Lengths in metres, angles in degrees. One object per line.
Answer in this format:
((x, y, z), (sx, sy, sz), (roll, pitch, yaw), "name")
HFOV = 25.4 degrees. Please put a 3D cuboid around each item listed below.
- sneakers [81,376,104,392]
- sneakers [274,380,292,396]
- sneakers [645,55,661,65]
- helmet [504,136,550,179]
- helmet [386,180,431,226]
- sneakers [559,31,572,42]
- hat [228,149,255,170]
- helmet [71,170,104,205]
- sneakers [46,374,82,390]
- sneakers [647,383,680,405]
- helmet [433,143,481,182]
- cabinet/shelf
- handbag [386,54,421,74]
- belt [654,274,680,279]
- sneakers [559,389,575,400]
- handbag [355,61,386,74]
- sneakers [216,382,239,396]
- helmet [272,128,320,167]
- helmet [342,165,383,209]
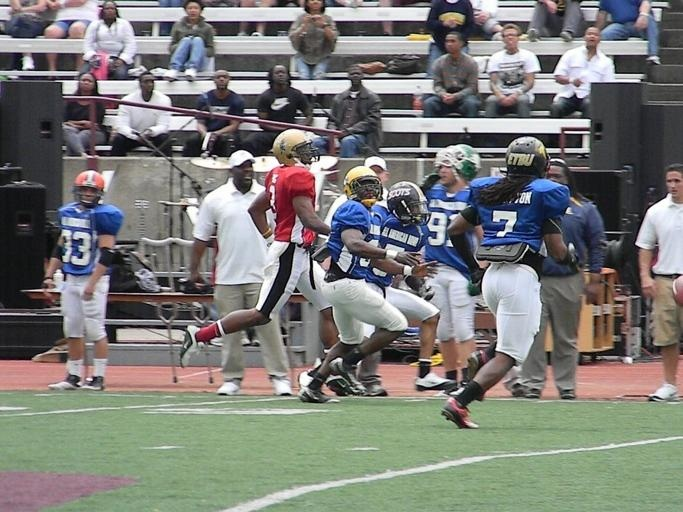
((-2.614, 1.320, 15.837), (0.253, 0.143, 0.297), (0, 0, -7), "sneakers")
((-0.616, 1.332, 15.350), (0.182, 0.150, 0.143), (0, 0, -2), "sneakers")
((4.470, -2.821, 22.077), (0.145, 0.117, 0.360), (6, 11, 21), "sneakers")
((1.705, -0.897, 13.657), (0.417, 0.275, 0.436), (5, 13, 20), "helmet")
((0.629, -0.501, 14.947), (0.395, 0.406, 0.250), (0, 0, 1), "helmet")
((3.241, -3.169, 22.148), (0.199, 0.087, 0.122), (30, 30, 8), "sneakers")
((-1.051, -0.970, 15.518), (0.279, 0.117, 0.307), (-2, -4, -19), "hat")
((-2.612, -0.678, 15.632), (0.293, 0.369, 0.258), (0, 0, -8), "helmet")
((-2.900, 1.309, 15.833), (0.328, 0.153, 0.334), (0, 0, -8), "sneakers")
((3.154, 1.360, 14.957), (0.361, 0.105, 0.151), (9, -3, -40), "sneakers")
((1.203, -0.938, 15.370), (0.504, 0.327, 0.364), (19, 4, -5), "helmet")
((2.949, 0.665, 17.876), (0.351, 1.023, 0.961), (-1, 0, 26), "cabinet/shelf")
((0.890, -2.762, 22.154), (0.459, 0.148, 0.335), (4, 5, 40), "handbag")
((3.197, 0.212, 14.921), (0.104, 0.052, 0.357), (0, 0, -42), "belt")
((2.222, 1.368, 15.079), (0.142, 0.098, 0.073), (0, 0, -6), "sneakers")
((0.461, -2.729, 22.371), (0.481, 0.129, 0.439), (-1, 2, 13), "handbag")
((-1.166, 1.336, 15.394), (0.217, 0.143, 0.220), (0, 0, -4), "sneakers")
((-0.484, -1.046, 14.963), (0.558, 0.266, 0.344), (3, 17, 2), "helmet")
((0.191, -0.659, 14.646), (0.348, 0.392, 0.280), (0, 0, 1), "helmet")
